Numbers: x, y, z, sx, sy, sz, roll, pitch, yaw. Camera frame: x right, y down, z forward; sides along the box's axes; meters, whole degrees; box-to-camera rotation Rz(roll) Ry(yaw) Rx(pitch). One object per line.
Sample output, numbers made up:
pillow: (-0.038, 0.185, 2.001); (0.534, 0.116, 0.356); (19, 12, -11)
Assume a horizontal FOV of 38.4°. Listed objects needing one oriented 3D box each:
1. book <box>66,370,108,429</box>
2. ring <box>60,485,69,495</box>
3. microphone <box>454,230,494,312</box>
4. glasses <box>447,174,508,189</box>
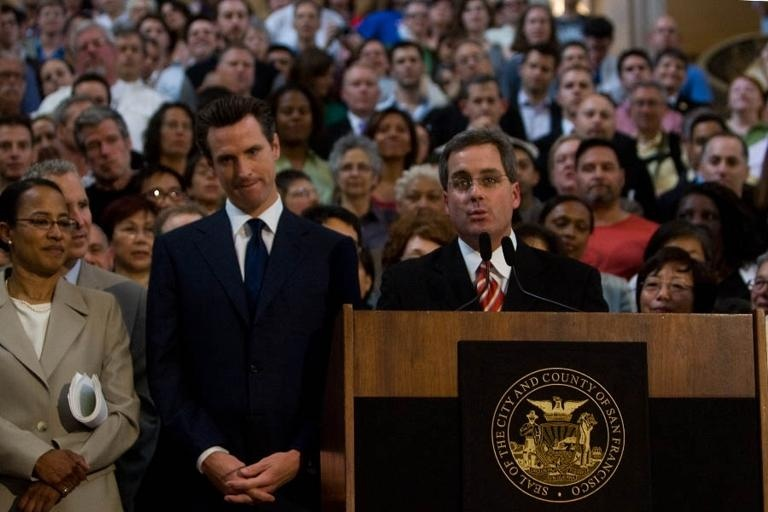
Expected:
book: (-1.391, 0.660, 5.000); (0.193, 0.233, 0.175); (0, -16, -3)
ring: (-1.467, 1.031, 4.817); (0.042, 0.040, 0.012); (7, 6, -36)
microphone: (0.403, 0.079, 4.934); (0.101, 0.094, 0.406); (-20, 38, 13)
glasses: (0.419, -0.332, 5.024); (0.229, 0.069, 0.052); (-1, 4, -3)
